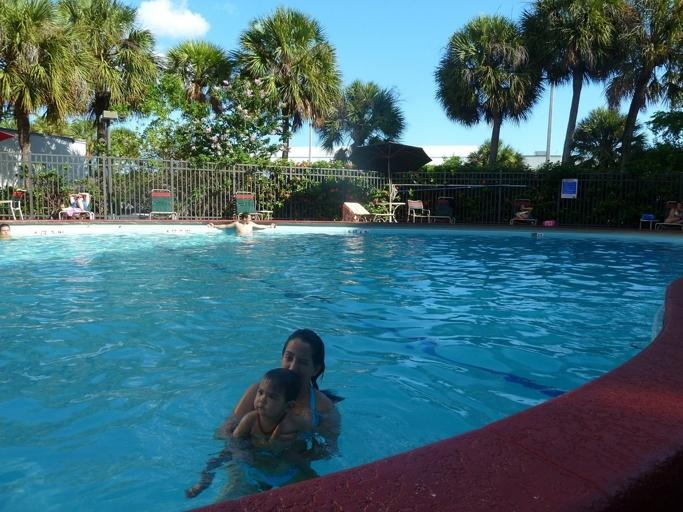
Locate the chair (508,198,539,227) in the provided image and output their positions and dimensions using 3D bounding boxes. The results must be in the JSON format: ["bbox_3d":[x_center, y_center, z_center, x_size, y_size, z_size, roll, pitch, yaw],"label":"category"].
[{"bbox_3d":[7.316,-1.860,19.071,1.293,1.333,1.113,0,-3,4],"label":"chair"}]

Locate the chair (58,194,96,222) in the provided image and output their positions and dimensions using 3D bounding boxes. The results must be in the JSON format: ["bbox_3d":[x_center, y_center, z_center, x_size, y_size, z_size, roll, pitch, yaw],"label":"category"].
[{"bbox_3d":[-9.499,-1.787,17.094,0.989,0.829,1.340,-1,3,-14],"label":"chair"}]

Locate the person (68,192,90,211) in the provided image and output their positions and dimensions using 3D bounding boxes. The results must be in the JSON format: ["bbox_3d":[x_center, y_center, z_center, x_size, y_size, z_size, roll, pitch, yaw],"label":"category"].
[{"bbox_3d":[-9.359,-1.985,17.306,0.607,0.664,1.226,-4,8,-17],"label":"person"}]

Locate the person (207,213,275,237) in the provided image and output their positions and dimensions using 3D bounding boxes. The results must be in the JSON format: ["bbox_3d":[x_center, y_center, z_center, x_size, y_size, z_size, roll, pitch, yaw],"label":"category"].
[{"bbox_3d":[-3.360,-1.065,16.114,1.264,0.805,0.234,0,16,-14],"label":"person"}]

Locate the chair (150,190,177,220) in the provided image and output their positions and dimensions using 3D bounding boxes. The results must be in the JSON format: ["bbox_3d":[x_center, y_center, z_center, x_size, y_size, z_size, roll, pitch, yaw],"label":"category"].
[{"bbox_3d":[-6.710,-1.997,18.235,0.842,1.167,2.115,-4,8,-18],"label":"chair"}]

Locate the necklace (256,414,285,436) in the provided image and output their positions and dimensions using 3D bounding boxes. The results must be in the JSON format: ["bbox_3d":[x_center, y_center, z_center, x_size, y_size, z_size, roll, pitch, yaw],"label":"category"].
[{"bbox_3d":[-0.358,0.851,2.451,0.113,0.126,0.146,-1,-7,6],"label":"necklace"}]
